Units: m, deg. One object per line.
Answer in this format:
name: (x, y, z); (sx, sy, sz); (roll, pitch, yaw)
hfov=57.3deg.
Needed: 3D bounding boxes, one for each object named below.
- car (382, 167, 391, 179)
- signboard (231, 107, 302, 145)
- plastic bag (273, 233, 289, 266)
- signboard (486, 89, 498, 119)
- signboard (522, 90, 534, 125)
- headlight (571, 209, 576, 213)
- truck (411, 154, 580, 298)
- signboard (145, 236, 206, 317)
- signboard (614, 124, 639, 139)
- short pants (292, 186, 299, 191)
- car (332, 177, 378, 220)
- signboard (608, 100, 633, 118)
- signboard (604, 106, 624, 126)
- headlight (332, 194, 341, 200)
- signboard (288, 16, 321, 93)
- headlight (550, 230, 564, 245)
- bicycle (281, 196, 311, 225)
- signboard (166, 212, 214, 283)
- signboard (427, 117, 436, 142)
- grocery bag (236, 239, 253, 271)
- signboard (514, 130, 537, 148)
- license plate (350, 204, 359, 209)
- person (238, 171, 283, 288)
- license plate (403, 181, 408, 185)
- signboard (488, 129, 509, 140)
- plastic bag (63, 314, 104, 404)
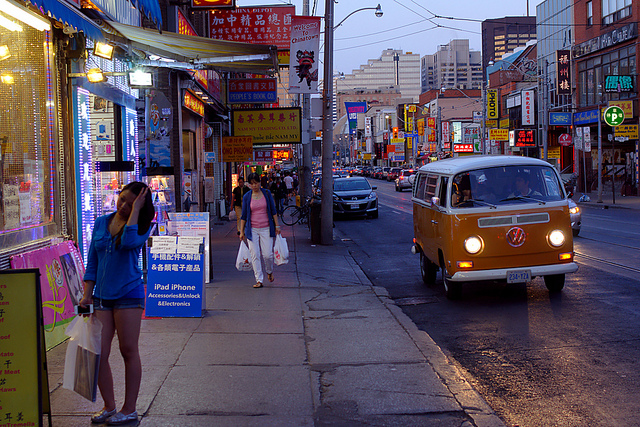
car: (9.849, -5.790, 86.460); (1.602, 1.675, 3.007); (0, 7, 6)
signboard: (-2.395, -3.950, 26.747); (3.176, 2.019, 0.161); (-3, 43, -8)
plastic bag: (-0.886, 0.782, 13.211); (0.314, 0.728, 0.369); (6, 19, 26)
signboard: (19.735, -12.374, 67.201); (1.108, 3.220, 1.972); (2, 6, 16)
signboard: (21.838, -11.003, 61.465); (1.258, 3.570, 0.762); (1, 6, 6)
headlight: (8.175, -0.062, 18.940); (0.116, 0.130, 0.029); (-19, -4, 27)
truck: (3.352, 0.199, 12.697); (2.255, 2.319, 3.737); (-1, -3, -11)
signboard: (-2.706, 1.187, 11.053); (1.033, 1.548, 0.829); (2, -10, -13)
signboard: (20.993, -5.524, 40.252); (1.839, 0.939, 0.444); (-1, 6, -11)
short pants: (-1.907, -1.942, 48.261); (0.466, 0.482, 0.156); (2, -14, 12)
car: (1.737, -0.664, 29.791); (2.236, 2.010, 2.365); (-1, 6, -13)
signboard: (20.950, -7.302, 40.915); (1.788, 1.463, 1.053); (0, 4, -3)
signboard: (19.533, -6.415, 38.945); (1.461, 1.671, 0.209); (-1, 10, 22)
headlight: (0.823, -0.734, 28.439); (0.335, 0.158, 0.484); (1, 3, -22)
signboard: (-0.455, -5.096, 18.930); (1.028, 2.468, 0.063); (2, 7, 8)
headlight: (4.598, 0.487, 11.387); (0.235, 0.265, 0.058); (-9, 4, -17)
bicycle: (-1.137, -0.144, 28.222); (1.251, 1.286, 2.244); (-2, 7, -18)
signboard: (-2.930, 0.659, 13.354); (0.886, 1.477, 0.509); (-1, -8, 3)
signboard: (18.825, -13.765, 98.038); (1.112, 3.952, 2.317); (5, 8, 42)
grocery bag: (-1.624, 0.951, 12.883); (0.305, 0.711, 0.355); (2, 6, 20)
signboard: (21.371, -7.695, 61.413); (2.474, 2.069, 1.516); (2, 2, 7)
license plate: (1.712, -0.317, 28.820); (0.318, 0.200, 0.244); (1, -3, 11)
person: (-1.345, 0.359, 13.295); (0.894, 2.527, 1.318); (0, 6, -4)
license plate: (7.710, -2.637, 52.503); (0.365, 0.239, 0.389); (2, 7, -15)
signboard: (19.683, -8.612, 64.779); (2.016, 1.109, 1.224); (2, 6, 13)
plastic bag: (-2.832, 1.691, 6.964); (0.601, 0.927, 0.238); (9, 0, 26)
